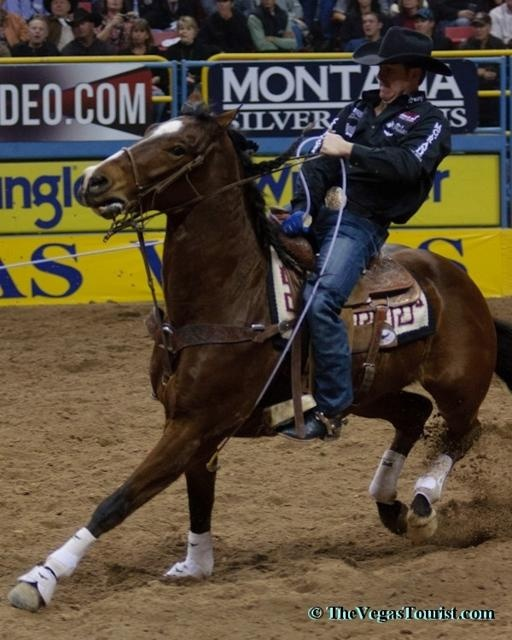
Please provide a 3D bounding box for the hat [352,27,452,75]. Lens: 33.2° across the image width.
[{"bbox_3d":[0.676,-1.286,4.081,0.424,0.158,0.426,-7,31,21],"label":"hat"}]
